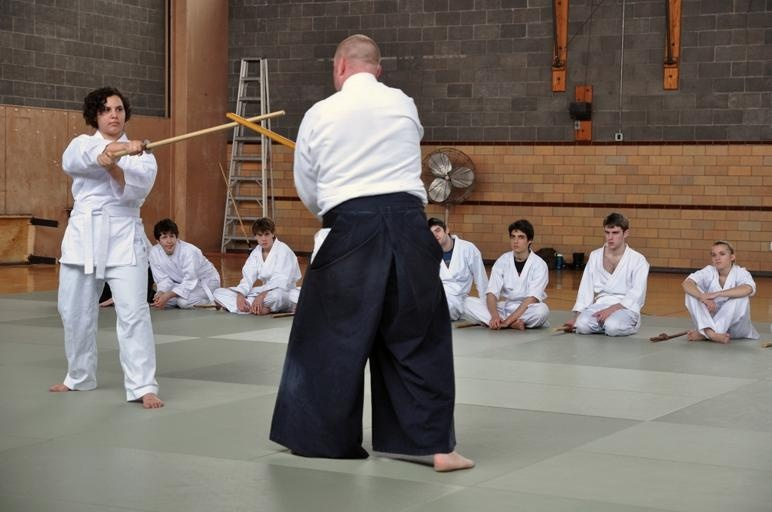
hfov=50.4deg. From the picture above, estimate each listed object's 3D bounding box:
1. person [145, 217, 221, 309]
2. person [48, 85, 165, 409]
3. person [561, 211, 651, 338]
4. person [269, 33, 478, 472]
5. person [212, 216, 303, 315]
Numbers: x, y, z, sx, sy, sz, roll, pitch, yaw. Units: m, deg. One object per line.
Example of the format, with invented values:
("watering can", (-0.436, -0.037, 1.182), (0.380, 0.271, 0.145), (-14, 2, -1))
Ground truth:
("person", (-2.436, 0.126, 9.692), (0.908, 1.046, 0.696), (-4, 7, -38))
("person", (-2.059, -0.088, 5.899), (0.747, 2.223, 0.861), (-5, 10, -31))
("person", (2.258, 0.334, 8.252), (0.676, 0.894, 0.450), (3, 9, 20))
("person", (-0.108, 0.022, 4.916), (1.129, 2.456, 0.474), (1, 9, 5))
("person", (-1.503, 0.140, 9.252), (0.974, 1.020, 0.836), (-2, 1, 4))
